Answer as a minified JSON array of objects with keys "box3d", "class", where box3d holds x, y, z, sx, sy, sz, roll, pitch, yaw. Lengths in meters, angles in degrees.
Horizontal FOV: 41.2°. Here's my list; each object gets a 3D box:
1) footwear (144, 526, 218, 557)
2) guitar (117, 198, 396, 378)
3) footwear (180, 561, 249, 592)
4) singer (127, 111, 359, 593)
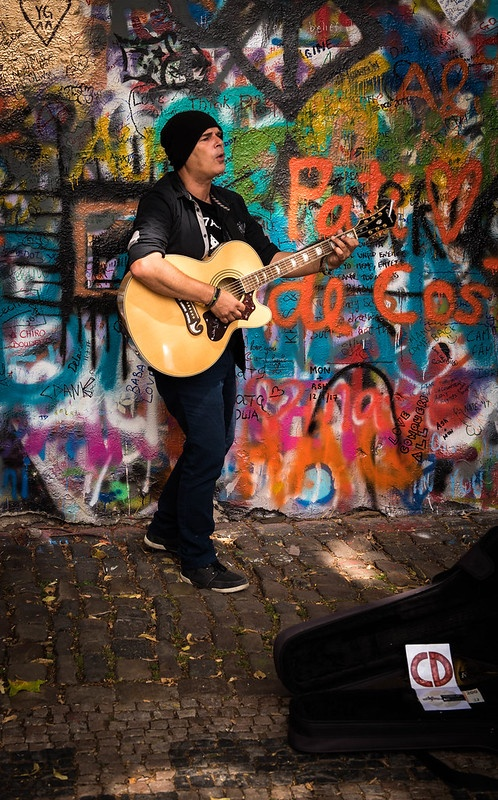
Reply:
[{"box3d":[-0.459,0.759,3.785,0.344,0.137,0.191,4,12,4],"class":"footwear"},{"box3d":[0.010,-0.525,3.158,1.598,0.605,0.163,-29,14,-28],"class":"guitar"},{"box3d":[-0.172,0.863,3.307,0.321,0.125,0.129,3,7,5],"class":"footwear"},{"box3d":[-0.097,-0.239,3.364,0.830,2.178,1.195,16,19,41],"class":"singer"}]
